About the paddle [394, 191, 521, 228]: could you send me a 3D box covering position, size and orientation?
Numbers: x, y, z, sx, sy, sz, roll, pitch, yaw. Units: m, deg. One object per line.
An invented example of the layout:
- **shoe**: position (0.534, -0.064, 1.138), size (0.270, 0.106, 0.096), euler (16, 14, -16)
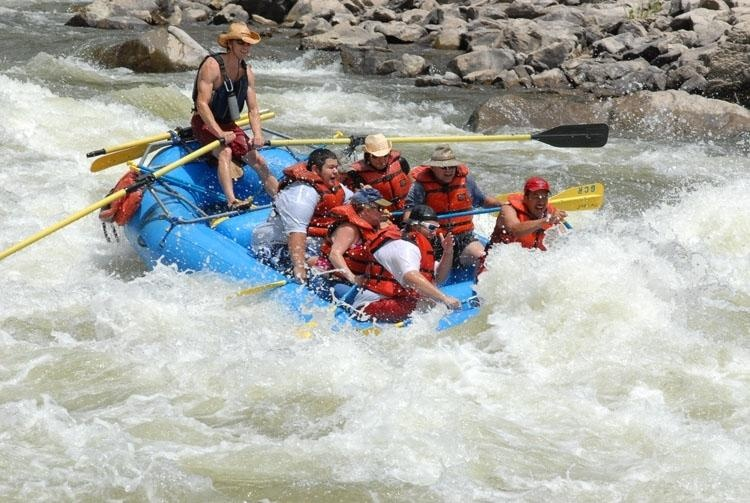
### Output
- **paddle**: position (0.854, -0.468, 11.528), size (1.074, 0.170, 0.601), euler (-8, 0, 17)

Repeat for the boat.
- **boat**: position (-1.333, 0.020, 11.203), size (3.904, 0.719, 2.078), euler (26, 24, 18)

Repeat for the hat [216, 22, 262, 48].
- **hat**: position (-1.676, -2.612, 11.739), size (0.473, 0.365, 0.436), euler (2, 31, -4)

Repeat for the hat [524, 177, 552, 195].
- **hat**: position (1.817, -0.759, 11.036), size (0.258, 0.147, 0.316), euler (3, -10, -10)

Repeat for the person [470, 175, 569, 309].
- **person**: position (1.760, -0.072, 11.215), size (0.949, 1.523, 0.896), euler (1, 31, 1)

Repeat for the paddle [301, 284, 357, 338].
- **paddle**: position (-0.498, 0.674, 10.488), size (0.841, 0.205, 0.184), euler (-30, 19, -14)

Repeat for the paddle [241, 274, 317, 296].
- **paddle**: position (-1.072, 0.384, 10.720), size (0.825, 0.092, 0.111), euler (-10, 4, -15)

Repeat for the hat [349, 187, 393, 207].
- **hat**: position (-0.032, -0.602, 10.727), size (0.365, 0.116, 0.218), euler (4, 4, -17)

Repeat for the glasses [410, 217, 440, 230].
- **glasses**: position (0.533, -0.278, 10.384), size (0.308, 0.116, 0.104), euler (-2, 32, -10)

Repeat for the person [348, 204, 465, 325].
- **person**: position (0.426, 0.279, 10.587), size (1.343, 1.215, 1.126), euler (15, 10, 41)

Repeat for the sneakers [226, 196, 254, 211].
- **sneakers**: position (-1.570, -0.570, 11.587), size (0.384, 0.150, 0.129), euler (-12, 33, -44)

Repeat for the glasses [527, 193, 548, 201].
- **glasses**: position (1.855, -0.609, 10.896), size (0.119, 0.044, 0.148), euler (2, -8, -2)

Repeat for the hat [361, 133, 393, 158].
- **hat**: position (0.028, -1.243, 11.384), size (0.326, 0.242, 0.308), euler (2, 31, -3)

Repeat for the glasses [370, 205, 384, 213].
- **glasses**: position (0.023, -0.475, 10.757), size (0.120, 0.064, 0.060), euler (25, 71, 38)

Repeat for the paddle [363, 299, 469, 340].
- **paddle**: position (0.399, 0.732, 10.347), size (1.103, 0.319, 0.150), euler (-2, 34, -11)

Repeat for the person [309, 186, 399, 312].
- **person**: position (-0.250, 0.031, 10.620), size (0.800, 1.252, 0.807), euler (20, 29, -14)

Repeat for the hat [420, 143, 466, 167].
- **hat**: position (0.893, -1.282, 13.027), size (0.878, 0.298, 0.772), euler (0, 12, -2)
